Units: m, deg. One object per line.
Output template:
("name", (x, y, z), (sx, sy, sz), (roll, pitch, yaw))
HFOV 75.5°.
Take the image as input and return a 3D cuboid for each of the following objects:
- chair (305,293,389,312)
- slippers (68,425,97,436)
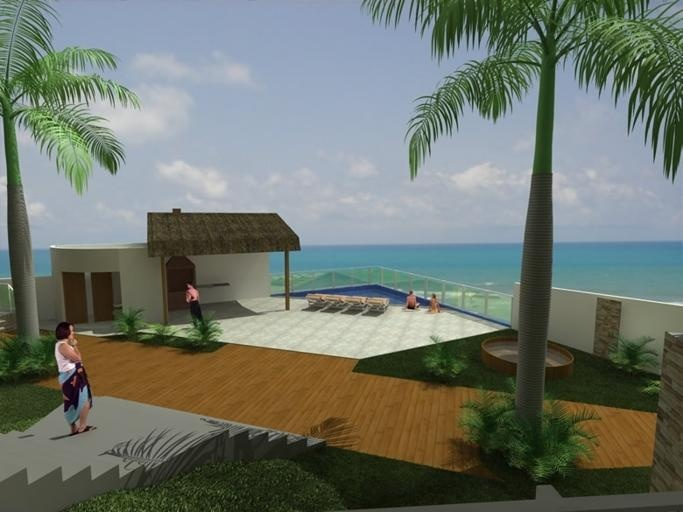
("chair", (0.259, 1.971, 18.751), (3.372, 0.603, 0.662), (3, 7, 13))
("slippers", (-4.362, 2.917, 7.453), (0.393, 0.111, 0.183), (-3, 7, -32))
